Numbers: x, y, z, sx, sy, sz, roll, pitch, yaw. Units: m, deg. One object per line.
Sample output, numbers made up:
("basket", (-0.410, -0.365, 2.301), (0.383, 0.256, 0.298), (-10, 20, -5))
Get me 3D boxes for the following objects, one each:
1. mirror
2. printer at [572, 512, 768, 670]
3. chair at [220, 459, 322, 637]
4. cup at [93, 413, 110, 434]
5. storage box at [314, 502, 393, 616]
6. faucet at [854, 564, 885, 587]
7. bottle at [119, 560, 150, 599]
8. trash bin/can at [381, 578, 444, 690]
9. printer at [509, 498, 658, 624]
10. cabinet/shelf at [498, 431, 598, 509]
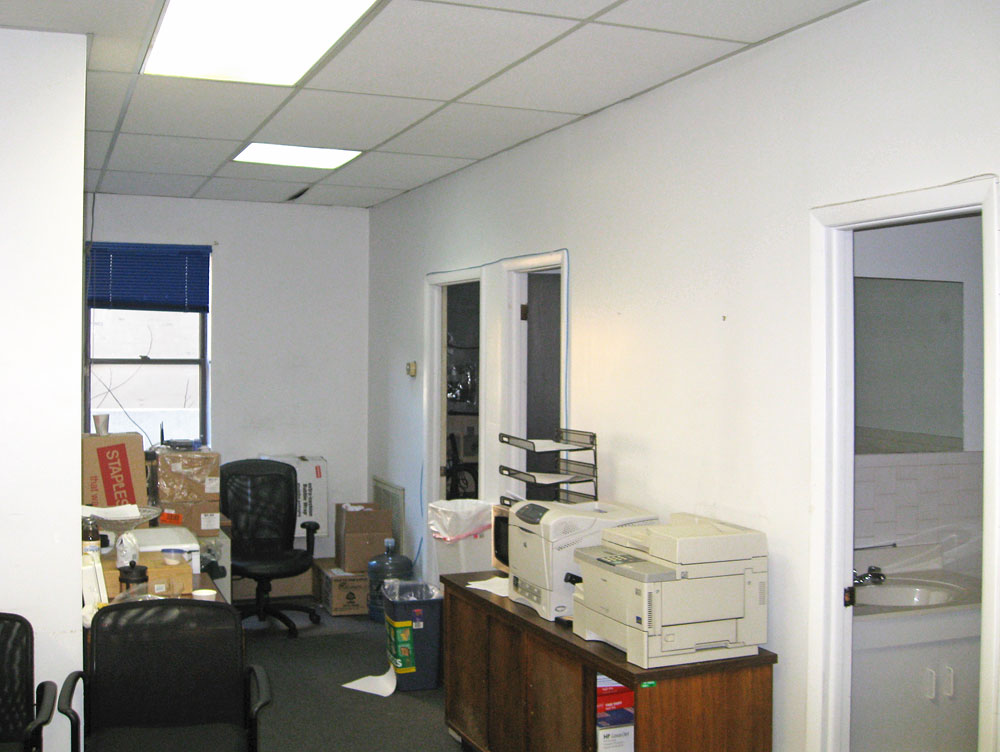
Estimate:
("mirror", (1.646, -0.041, 3.427), (0.429, 0.693, 0.091), (0, -3, 2))
("printer", (0.697, 0.850, 3.456), (0.583, 0.460, 0.572), (1, -3, -31))
("chair", (-1.685, 1.217, 6.261), (0.710, 1.211, 0.833), (1, -3, -17))
("cup", (-2.663, 0.321, 5.707), (0.127, 0.143, 0.130), (-2, -13, -1))
("storage box", (-1.089, 1.423, 6.642), (0.650, 0.881, 0.908), (1, -2, -14))
("faucet", (1.460, 0.801, 3.393), (0.102, 0.077, 0.054), (-4, 0, 1))
("bottle", (-1.706, 0.937, 3.955), (0.156, 0.210, 0.142), (0, -5, 0))
("trash bin/can", (-0.523, 1.573, 5.159), (0.348, 0.637, 0.246), (1, -3, -8))
("printer", (0.373, 0.825, 3.977), (0.531, 0.415, 0.527), (2, -4, -22))
("cabinet/shelf", (0.229, 0.491, 4.614), (0.396, 0.564, 0.576), (-2, 3, -24))
